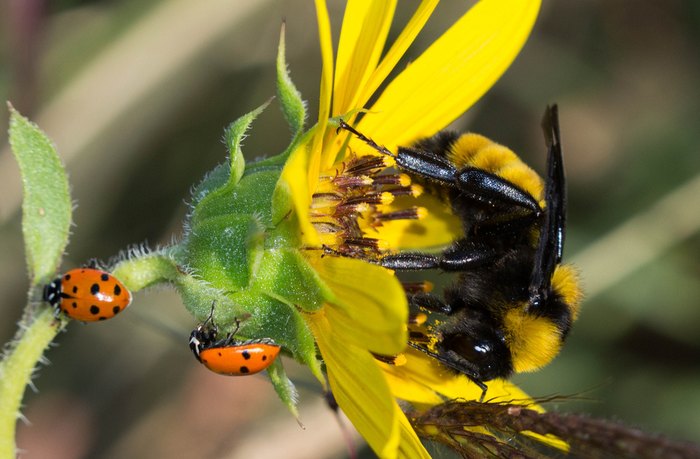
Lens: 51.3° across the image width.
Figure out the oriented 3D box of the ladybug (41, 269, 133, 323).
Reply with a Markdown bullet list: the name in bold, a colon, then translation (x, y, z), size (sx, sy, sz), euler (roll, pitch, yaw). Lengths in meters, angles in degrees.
- **ladybug**: translation (-0.931, 0.225, 2.574), size (0.248, 0.087, 0.185), euler (4, 87, -5)

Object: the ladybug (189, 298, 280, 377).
- **ladybug**: translation (-0.425, 0.426, 2.581), size (0.341, 0.138, 0.300), euler (4, 39, 5)
